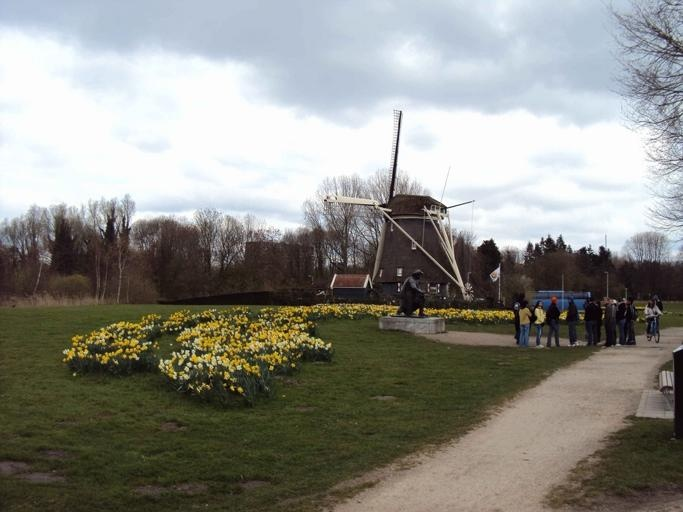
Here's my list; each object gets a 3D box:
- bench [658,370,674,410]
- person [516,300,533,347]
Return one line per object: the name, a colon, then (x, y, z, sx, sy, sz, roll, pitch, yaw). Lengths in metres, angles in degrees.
bench: (8.138, 3.390, 18.117, 0.297, 0.384, 0.955, 0, -3, 19)
person: (7.389, 2.817, 29.309, 0.554, 1.963, 1.415, 5, 14, 16)
